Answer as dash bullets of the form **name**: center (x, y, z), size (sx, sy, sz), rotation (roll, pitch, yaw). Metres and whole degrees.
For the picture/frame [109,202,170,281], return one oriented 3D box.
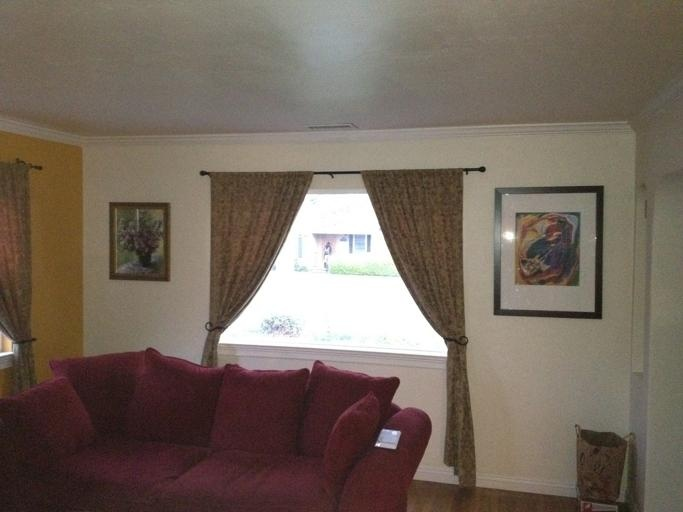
- **picture/frame**: center (-2.011, -0.172, 5.644), size (0.711, 0.902, 0.061), rotation (2, 3, 14)

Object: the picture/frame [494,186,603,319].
- **picture/frame**: center (1.840, -0.039, 4.855), size (1.051, 1.448, 0.056), rotation (1, 1, 9)
